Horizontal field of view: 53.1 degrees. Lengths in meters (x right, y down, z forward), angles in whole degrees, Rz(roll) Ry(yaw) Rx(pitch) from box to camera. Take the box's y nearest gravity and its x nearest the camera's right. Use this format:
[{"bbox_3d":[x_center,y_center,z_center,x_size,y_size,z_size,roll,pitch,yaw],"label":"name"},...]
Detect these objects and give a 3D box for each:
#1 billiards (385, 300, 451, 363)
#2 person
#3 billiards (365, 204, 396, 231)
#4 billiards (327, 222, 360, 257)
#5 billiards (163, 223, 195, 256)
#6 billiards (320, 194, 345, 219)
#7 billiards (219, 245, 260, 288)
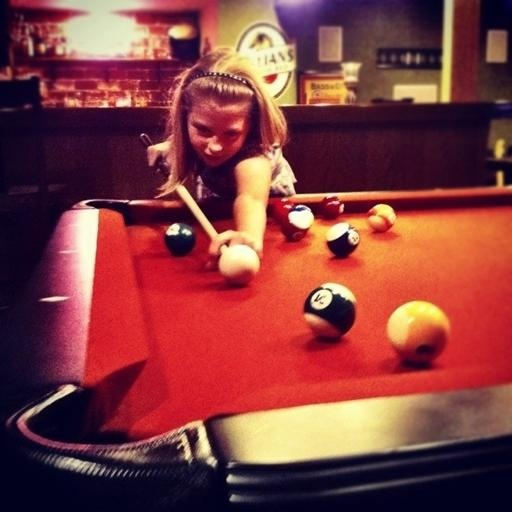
[{"bbox_3d":[0.258,0.119,0.865,0.110,0.090,0.091,1,15,0],"label":"billiards"},{"bbox_3d":[-0.124,-0.410,2.234,0.621,0.658,1.477,-2,-1,-6],"label":"person"},{"bbox_3d":[0.437,-0.132,1.838,0.096,0.104,0.089,8,-6,-37],"label":"billiards"},{"bbox_3d":[0.238,-0.050,1.495,0.096,0.107,0.095,-3,2,0],"label":"billiards"},{"bbox_3d":[-0.220,-0.049,1.586,0.099,0.110,0.097,-1,-4,-4],"label":"billiards"},{"bbox_3d":[0.309,-0.197,2.071,0.091,0.086,0.101,0,55,6],"label":"billiards"},{"bbox_3d":[-0.038,0.021,1.260,0.109,0.086,0.107,-2,16,-7],"label":"billiards"}]
